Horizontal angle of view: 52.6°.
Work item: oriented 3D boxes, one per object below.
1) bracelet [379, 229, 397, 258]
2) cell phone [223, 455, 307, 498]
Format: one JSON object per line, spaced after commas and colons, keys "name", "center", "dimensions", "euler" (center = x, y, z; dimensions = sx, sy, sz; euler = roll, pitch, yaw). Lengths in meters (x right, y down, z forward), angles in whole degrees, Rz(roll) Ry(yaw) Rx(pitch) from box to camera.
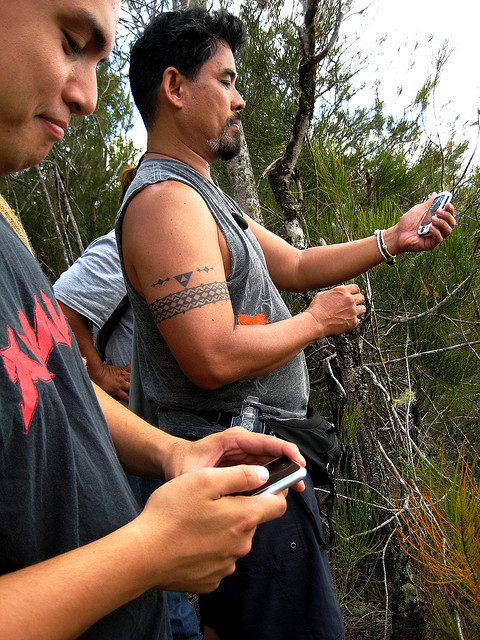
{"name": "bracelet", "center": [0.603, -0.308, 1.970], "dimensions": [0.084, 0.089, 0.110], "euler": [20, 22, 11]}
{"name": "cell phone", "center": [0.058, 0.249, 0.766], "dimensions": [0.119, 0.018, 0.062], "euler": [-13, 19, -37]}
